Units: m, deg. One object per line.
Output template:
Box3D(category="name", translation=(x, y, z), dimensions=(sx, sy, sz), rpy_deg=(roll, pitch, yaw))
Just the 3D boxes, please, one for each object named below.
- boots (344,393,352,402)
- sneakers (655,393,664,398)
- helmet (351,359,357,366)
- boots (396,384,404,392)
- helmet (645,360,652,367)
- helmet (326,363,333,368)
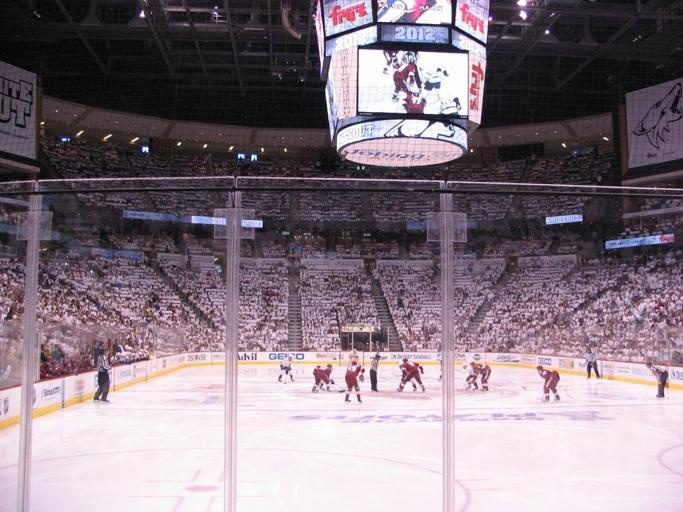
Box3D(category="boots", translation=(0.262, 4.573, 26.585), dimensions=(0.301, 0.324, 0.151), rpy_deg=(-1, 1, -20))
Box3D(category="sneakers", translation=(9.981, 4.368, 25.766), dimensions=(0.258, 0.113, 0.093), rpy_deg=(1, -2, 17))
Box3D(category="helmet", translation=(0.432, 3.472, 26.891), dimensions=(0.177, 0.197, 0.133), rpy_deg=(0, -5, -1))
Box3D(category="boots", translation=(1.985, 4.476, 28.079), dimensions=(0.206, 0.393, 0.330), rpy_deg=(2, -13, -4))
Box3D(category="helmet", translation=(9.027, 3.154, 24.157), dimensions=(0.227, 0.136, 0.263), rpy_deg=(10, -13, -37))
Box3D(category="helmet", translation=(-0.379, 3.679, 27.779), dimensions=(0.117, 0.166, 0.130), rpy_deg=(3, 2, -4))
